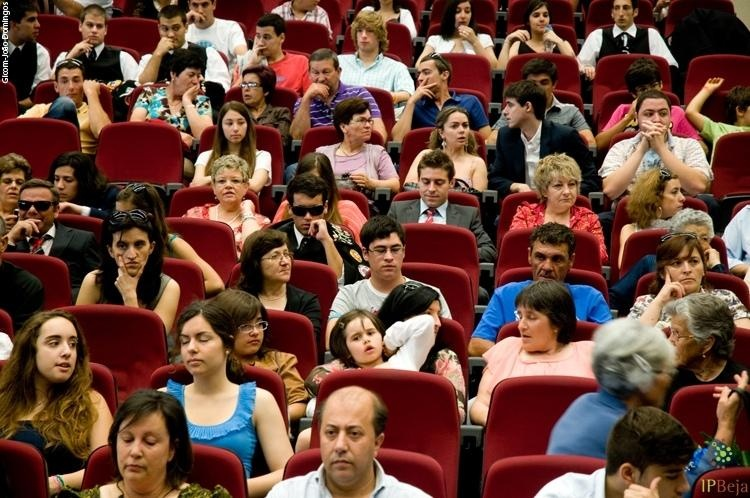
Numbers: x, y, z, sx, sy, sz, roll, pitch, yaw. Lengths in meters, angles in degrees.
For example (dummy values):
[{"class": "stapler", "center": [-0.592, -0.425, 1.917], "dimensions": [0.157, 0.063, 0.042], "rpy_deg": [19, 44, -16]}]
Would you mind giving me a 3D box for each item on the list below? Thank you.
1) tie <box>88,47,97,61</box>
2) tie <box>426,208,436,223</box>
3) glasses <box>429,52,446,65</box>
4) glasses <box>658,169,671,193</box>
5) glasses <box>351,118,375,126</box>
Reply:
[{"class": "tie", "center": [-2.913, -1.986, 9.492], "dimensions": [0.099, 0.147, 0.032], "rpy_deg": [-3, 2, -32]}, {"class": "tie", "center": [0.442, -0.263, 7.334], "dimensions": [0.057, 0.114, 0.034], "rpy_deg": [1, -20, -5]}, {"class": "glasses", "center": [0.599, -1.809, 8.833], "dimensions": [0.127, 0.049, 0.092], "rpy_deg": [27, 10, -25]}, {"class": "glasses", "center": [2.202, -0.524, 7.034], "dimensions": [0.036, 0.137, 0.129], "rpy_deg": [9, 11, 24]}, {"class": "glasses", "center": [-0.111, -1.083, 7.975], "dimensions": [0.093, 0.032, 0.098], "rpy_deg": [-4, -2, 35]}]
